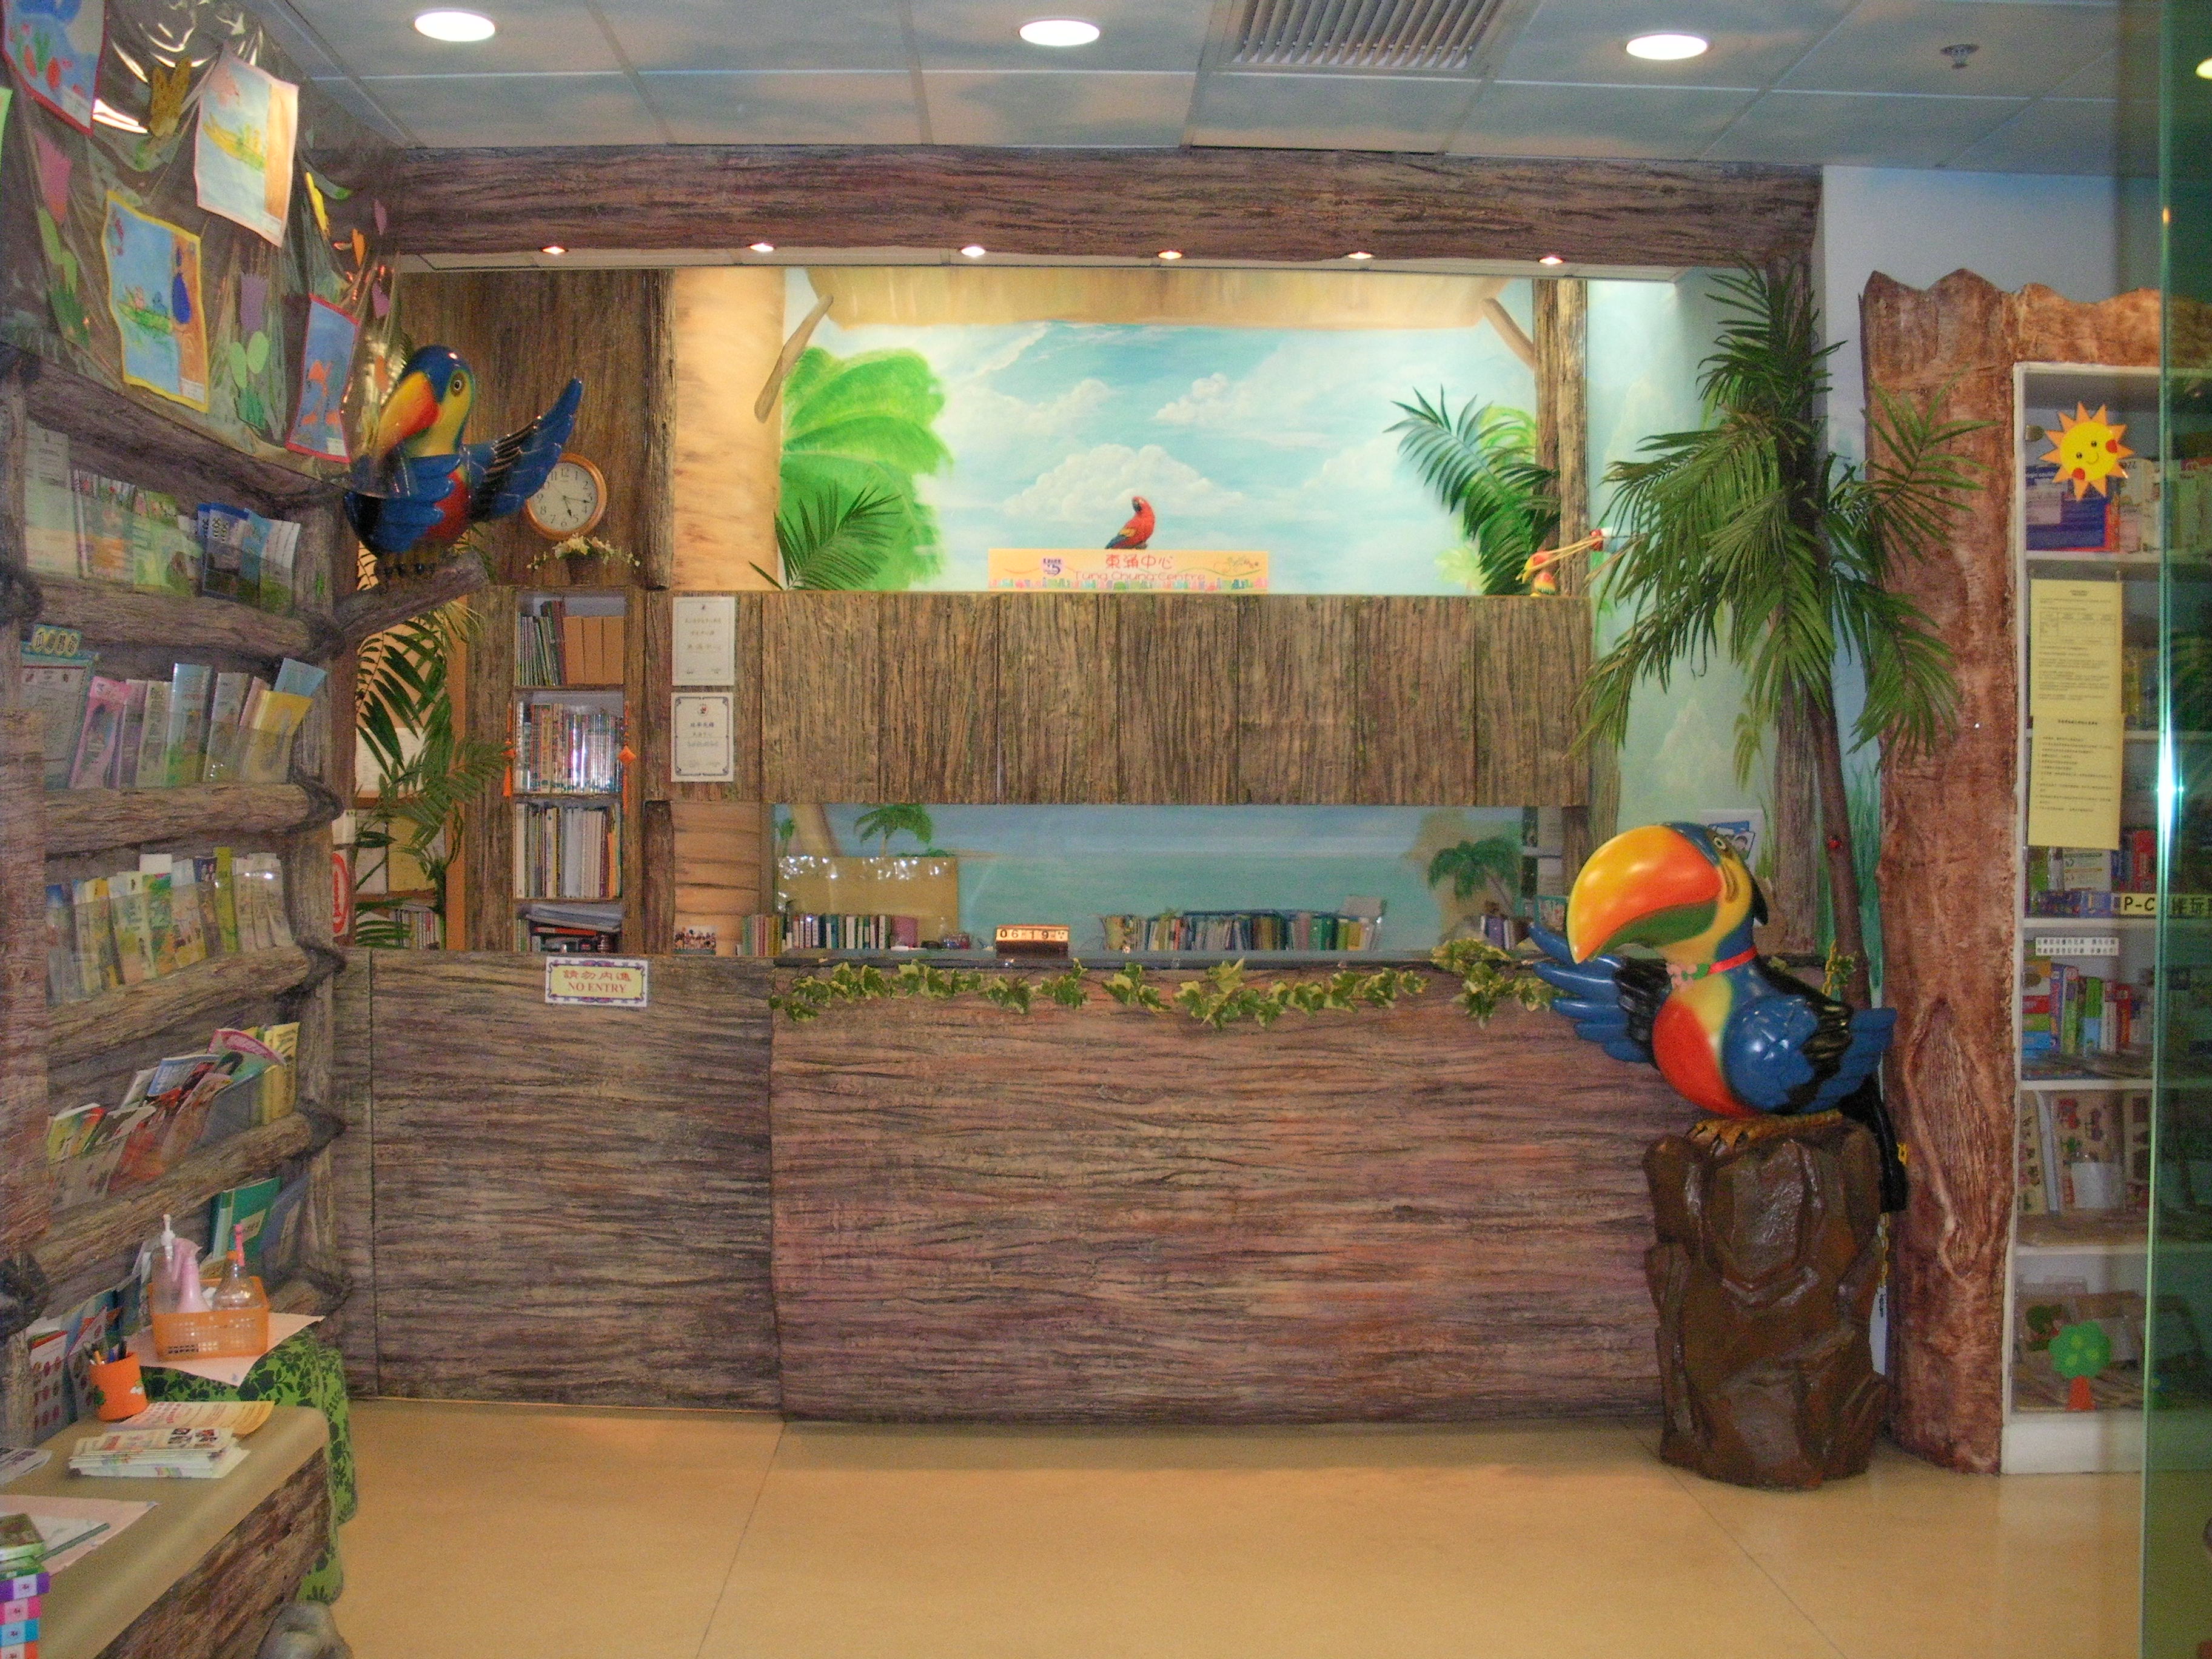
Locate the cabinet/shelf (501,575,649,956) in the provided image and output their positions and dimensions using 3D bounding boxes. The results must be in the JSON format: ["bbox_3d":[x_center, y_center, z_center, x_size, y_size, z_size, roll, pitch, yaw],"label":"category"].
[{"bbox_3d":[-2.246,-0.273,7.274,0.754,1.569,0.199,-2,1,16],"label":"cabinet/shelf"}]

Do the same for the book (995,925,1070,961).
[{"bbox_3d":[-0.230,0.349,5.230,0.232,0.098,0.168,-2,0,-4],"label":"book"}]
